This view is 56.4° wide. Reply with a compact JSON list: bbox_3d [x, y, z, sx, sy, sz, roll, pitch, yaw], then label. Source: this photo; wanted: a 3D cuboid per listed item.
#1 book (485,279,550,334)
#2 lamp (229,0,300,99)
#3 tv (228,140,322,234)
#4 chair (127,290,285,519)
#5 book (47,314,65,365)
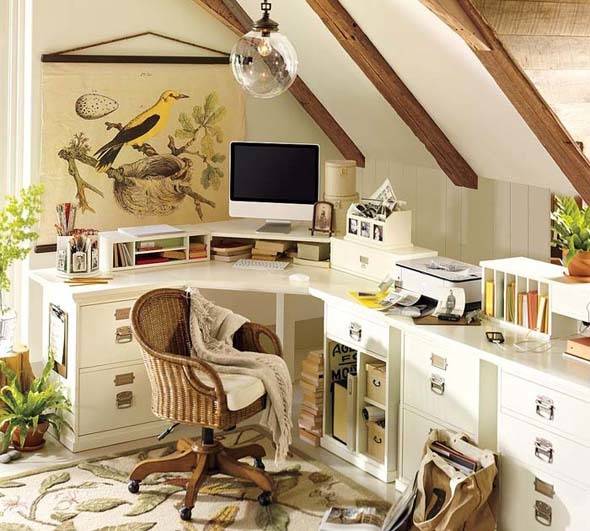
[{"bbox_3d":[0.980,0.185,2.390,0.076,0.116,0.212,-8,16,-34],"label":"book"},{"bbox_3d":[-0.135,-0.872,2.368,0.282,0.261,0.137,0,7,-6],"label":"lamp"},{"bbox_3d":[-0.136,-0.516,3.629,0.619,0.588,0.197,2,9,7],"label":"tv"},{"bbox_3d":[-0.387,0.602,2.642,0.721,0.918,0.700,6,8,35],"label":"chair"},{"bbox_3d":[-1.334,0.419,3.060,0.030,0.292,0.291,-1,4,-31],"label":"book"}]
